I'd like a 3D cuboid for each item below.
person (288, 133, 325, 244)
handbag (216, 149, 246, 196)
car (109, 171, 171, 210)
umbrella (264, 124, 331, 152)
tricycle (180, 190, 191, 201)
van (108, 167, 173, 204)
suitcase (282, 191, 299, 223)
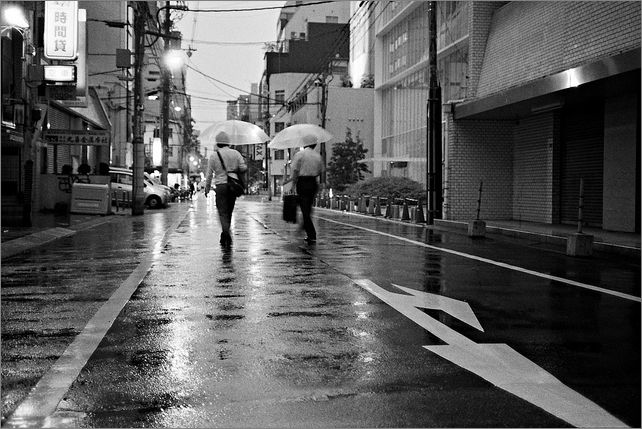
[{"bbox_3d":[-0.337,-0.660,16.433,0.751,2.679,1.187,1,5,0],"label":"person"},{"bbox_3d":[-2.039,-0.939,15.192,0.691,1.032,0.400,0,6,-12],"label":"handbag"},{"bbox_3d":[-10.278,-1.542,37.937,3.027,1.505,1.746,-1,5,-16],"label":"car"},{"bbox_3d":[-0.505,-2.280,18.819,1.290,0.464,1.304,-12,-1,-1],"label":"umbrella"},{"bbox_3d":[-12.677,-1.764,62.378,0.967,0.982,0.390,-2,13,-39],"label":"tricycle"},{"bbox_3d":[-10.320,-1.594,38.413,3.440,1.767,1.997,0,5,-15],"label":"van"},{"bbox_3d":[-0.753,-0.179,16.385,0.557,1.027,0.559,0,2,-2],"label":"suitcase"}]
